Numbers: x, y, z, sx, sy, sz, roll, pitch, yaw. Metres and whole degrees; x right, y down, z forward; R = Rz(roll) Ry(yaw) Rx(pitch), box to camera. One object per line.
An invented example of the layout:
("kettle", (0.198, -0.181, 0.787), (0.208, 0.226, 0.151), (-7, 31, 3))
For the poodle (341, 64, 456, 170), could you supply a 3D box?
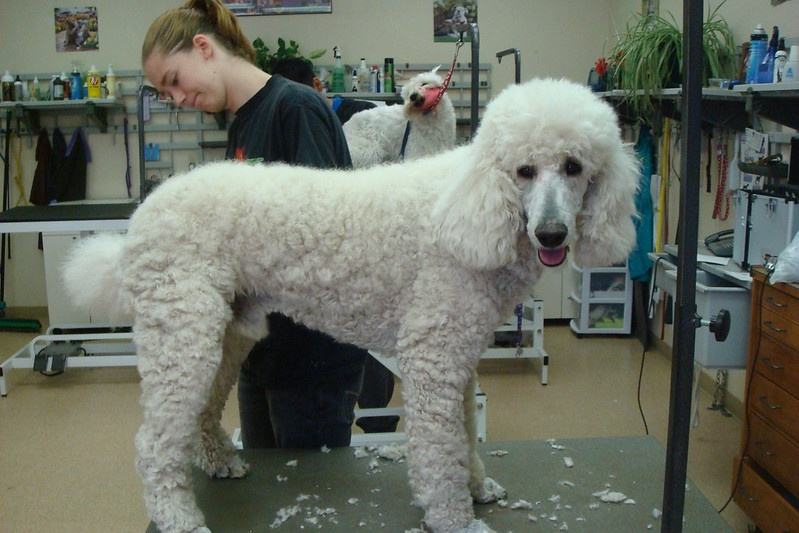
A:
("poodle", (0.027, -0.986, 5.138), (0.748, 0.831, 0.565), (-8, 42, -5))
